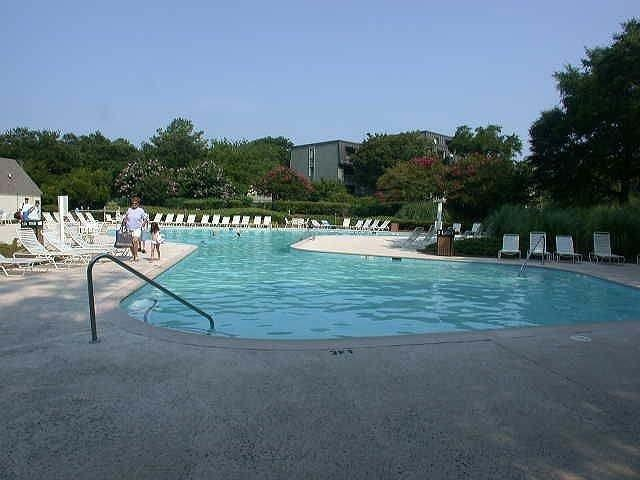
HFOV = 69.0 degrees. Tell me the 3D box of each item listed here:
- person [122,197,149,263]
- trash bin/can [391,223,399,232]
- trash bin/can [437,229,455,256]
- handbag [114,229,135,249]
[{"bbox_3d":[-5.320,-0.304,13.472,0.615,1.849,0.928,-2,5,-26],"label":"person"},{"bbox_3d":[6.209,-1.040,38.386,0.754,0.851,0.562,4,8,26],"label":"trash bin/can"},{"bbox_3d":[4.646,0.142,17.547,0.833,1.341,0.801,0,-2,15],"label":"trash bin/can"},{"bbox_3d":[-5.643,-0.019,13.498,0.484,0.705,0.242,-1,9,-20],"label":"handbag"}]
